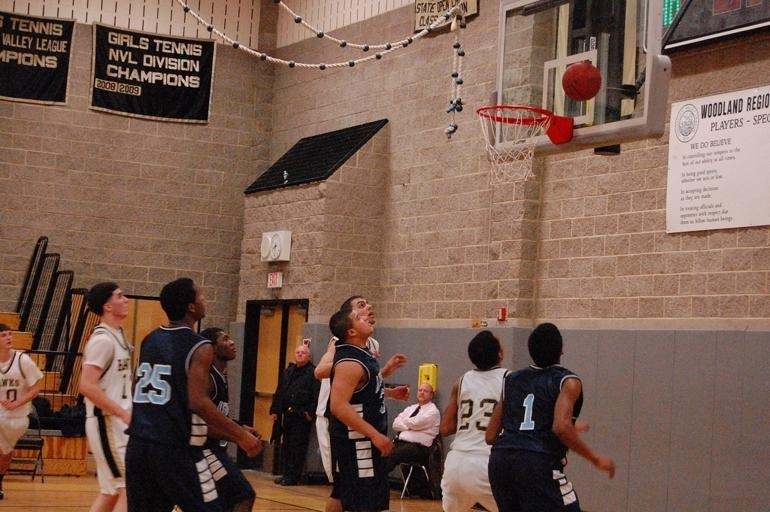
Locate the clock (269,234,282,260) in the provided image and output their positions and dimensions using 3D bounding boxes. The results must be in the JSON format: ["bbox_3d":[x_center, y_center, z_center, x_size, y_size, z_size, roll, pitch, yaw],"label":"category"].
[{"bbox_3d":[-1.932,-0.172,12.322,0.082,0.617,0.432,0,2,-29],"label":"clock"}]

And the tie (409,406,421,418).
[{"bbox_3d":[0.440,2.268,10.187,0.051,0.041,0.361,10,28,17],"label":"tie"}]

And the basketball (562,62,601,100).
[{"bbox_3d":[2.034,-1.832,7.284,0.377,0.443,0.377,-5,2,-11],"label":"basketball"}]
